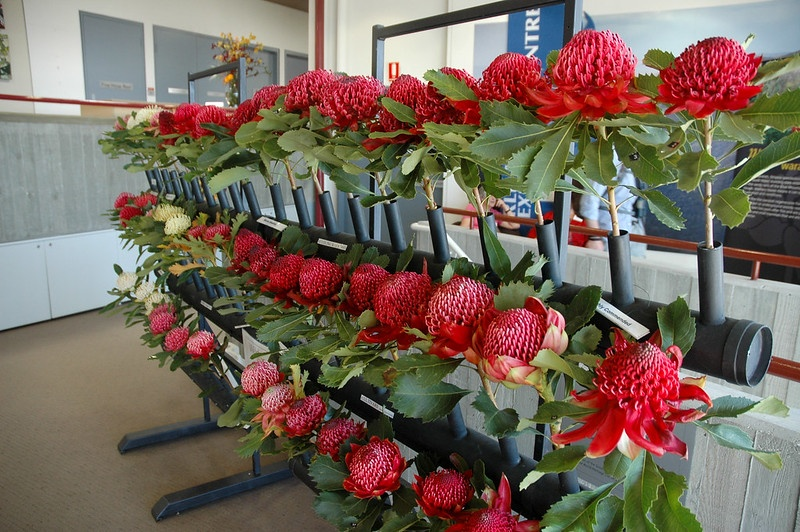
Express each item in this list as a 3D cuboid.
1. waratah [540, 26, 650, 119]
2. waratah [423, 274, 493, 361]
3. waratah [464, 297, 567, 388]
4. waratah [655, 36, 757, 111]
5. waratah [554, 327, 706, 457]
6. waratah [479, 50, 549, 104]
[{"bbox_3d":[0.256,-0.248,0.687,0.128,0.082,0.125,-15,22,-35],"label":"waratah"},{"bbox_3d":[0.086,0.071,0.817,0.106,0.115,0.096,18,20,18],"label":"waratah"},{"bbox_3d":[0.163,0.104,0.723,0.139,0.109,0.109,3,16,19],"label":"waratah"},{"bbox_3d":[0.407,-0.247,0.680,0.117,0.099,0.071,5,16,26],"label":"waratah"},{"bbox_3d":[0.309,0.179,0.675,0.154,0.169,0.175,11,19,41],"label":"waratah"},{"bbox_3d":[0.189,-0.281,0.769,0.103,0.080,0.119,-9,16,-26],"label":"waratah"}]
